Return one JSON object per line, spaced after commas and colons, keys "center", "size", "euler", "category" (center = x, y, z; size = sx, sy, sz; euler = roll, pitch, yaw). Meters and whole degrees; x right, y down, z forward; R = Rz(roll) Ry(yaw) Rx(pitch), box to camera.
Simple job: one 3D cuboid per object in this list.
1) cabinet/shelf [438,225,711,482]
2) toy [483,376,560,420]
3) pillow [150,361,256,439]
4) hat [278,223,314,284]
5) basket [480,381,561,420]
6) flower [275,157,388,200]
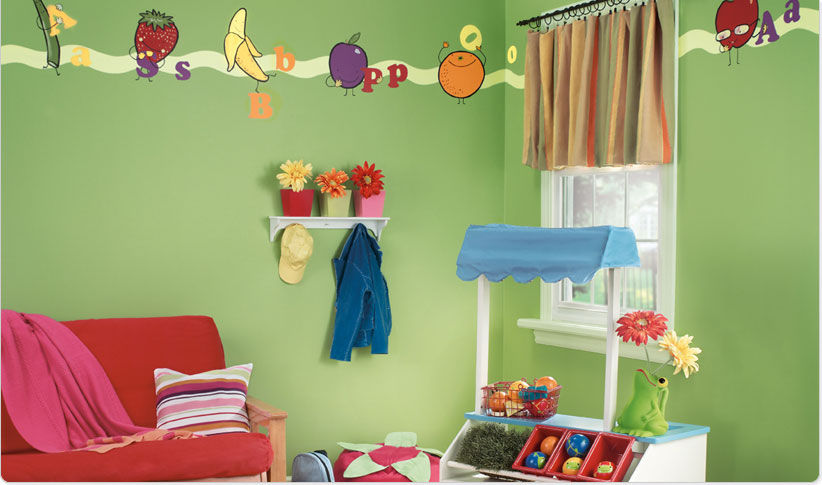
{"center": [1.129, 0.719, 4.456], "size": [1.808, 1.899, 1.087], "euler": [-1, -5, 22], "category": "cabinet/shelf"}
{"center": [0.669, 0.906, 4.235], "size": [0.423, 0.285, 0.327], "euler": [0, -1, -18], "category": "toy"}
{"center": [-1.317, 1.020, 4.358], "size": [0.794, 0.464, 0.462], "euler": [1, -1, -21], "category": "pillow"}
{"center": [-0.857, 0.088, 5.065], "size": [0.262, 0.421, 0.185], "euler": [-6, 14, -36], "category": "hat"}
{"center": [0.659, 0.957, 4.264], "size": [0.469, 0.254, 0.358], "euler": [1, -1, -11], "category": "basket"}
{"center": [-0.584, -0.481, 5.108], "size": [0.810, 0.275, 0.263], "euler": [1, 6, -12], "category": "flower"}
